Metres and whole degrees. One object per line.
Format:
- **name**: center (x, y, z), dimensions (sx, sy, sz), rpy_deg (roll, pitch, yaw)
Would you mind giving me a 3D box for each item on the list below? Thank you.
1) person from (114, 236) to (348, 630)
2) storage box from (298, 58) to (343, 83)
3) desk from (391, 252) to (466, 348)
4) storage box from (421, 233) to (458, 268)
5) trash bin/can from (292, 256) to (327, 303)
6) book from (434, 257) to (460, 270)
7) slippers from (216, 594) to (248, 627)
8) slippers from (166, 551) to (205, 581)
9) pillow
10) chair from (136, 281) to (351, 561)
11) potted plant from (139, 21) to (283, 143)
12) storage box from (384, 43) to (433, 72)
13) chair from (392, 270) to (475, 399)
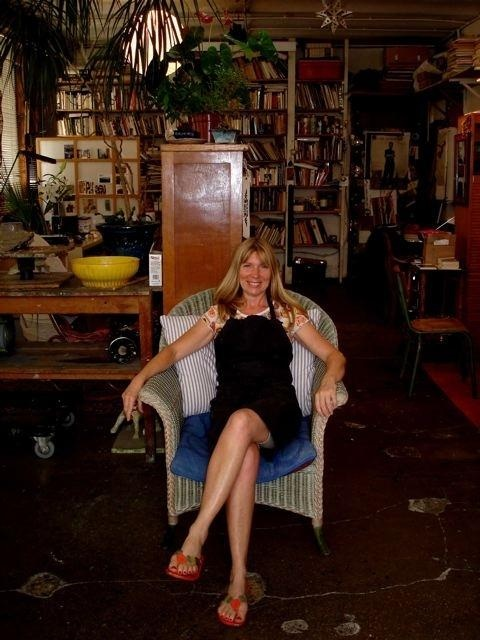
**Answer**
- **person**: center (-0.041, 0.348, 1.850), dimensions (0.780, 1.067, 0.964), rpy_deg (4, 18, 6)
- **storage box**: center (1.162, -3.571, 7.656), dimensions (0.491, 0.202, 0.359), rpy_deg (0, 17, 2)
- **desk**: center (1.651, -0.181, 4.668), dimensions (0.286, 0.423, 0.921), rpy_deg (-2, 9, 2)
- **storage box**: center (1.740, -0.607, 4.852), dimensions (0.361, 0.325, 0.285), rpy_deg (0, 5, 2)
- **trash bin/can**: center (1.064, -0.648, 8.175), dimensions (0.672, 0.614, 0.257), rpy_deg (3, 6, 3)
- **book**: center (1.811, -0.490, 4.698), dimensions (0.205, 0.098, 0.143), rpy_deg (-2, 6, -20)
- **slippers**: center (-0.019, 0.786, 1.485), dimensions (0.085, 0.077, 0.080), rpy_deg (0, 6, -3)
- **slippers**: center (-0.154, 0.682, 1.512), dimensions (0.096, 0.078, 0.063), rpy_deg (-1, 6, -8)
- **pillow**: center (-0.115, 0.182, 2.266), dimensions (0.508, 0.436, 0.144), rpy_deg (-3, -4, 0)
- **chair**: center (0.030, 0.355, 2.104), dimensions (0.705, 0.907, 0.761), rpy_deg (0, 6, 0)
- **potted plant**: center (-0.150, -1.250, 2.967), dimensions (0.645, 0.333, 0.625), rpy_deg (-15, -6, 2)
- **storage box**: center (2.364, -3.685, 7.633), dimensions (0.637, 0.405, 0.193), rpy_deg (1, 6, 10)
- **chair**: center (1.491, 0.068, 4.154), dimensions (0.570, 0.831, 1.159), rpy_deg (2, 6, 16)
